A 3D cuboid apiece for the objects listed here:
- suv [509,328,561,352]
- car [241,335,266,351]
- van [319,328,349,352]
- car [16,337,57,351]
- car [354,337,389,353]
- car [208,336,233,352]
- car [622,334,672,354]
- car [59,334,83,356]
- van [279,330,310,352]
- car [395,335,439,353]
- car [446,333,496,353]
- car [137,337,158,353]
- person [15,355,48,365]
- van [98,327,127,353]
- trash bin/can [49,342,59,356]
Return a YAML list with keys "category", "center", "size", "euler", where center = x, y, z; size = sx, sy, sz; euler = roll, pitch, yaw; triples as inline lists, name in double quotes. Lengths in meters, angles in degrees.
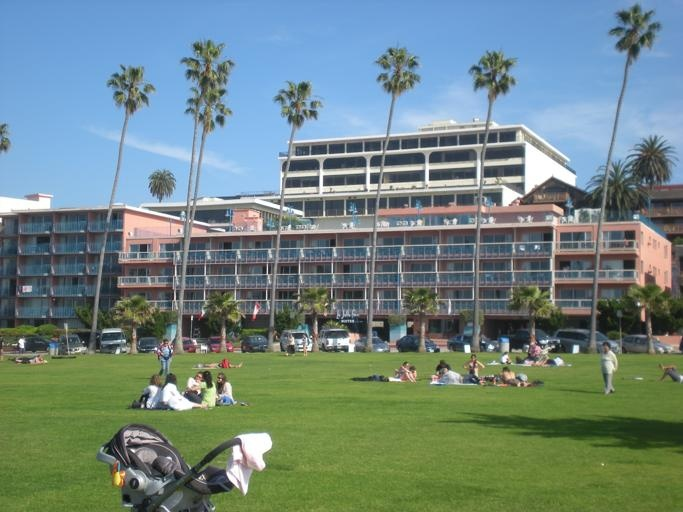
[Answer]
- category: "suv"
  center: [14.631, 6.532, 70.243]
  size: [1.515, 1.555, 3.281]
  euler: [3, -8, -35]
- category: "car"
  center: [-7.548, 7.413, 76.351]
  size: [1.127, 0.987, 1.995]
  euler: [3, -10, -24]
- category: "van"
  center: [-0.788, 6.934, 75.006]
  size: [1.361, 1.377, 2.455]
  euler: [-1, 6, -18]
- category: "car"
  center: [-27.313, 7.965, 80.170]
  size: [2.922, 1.119, 1.428]
  euler: [-2, -3, 10]
- category: "car"
  center: [2.469, 7.419, 75.601]
  size: [2.696, 1.645, 5.476]
  euler: [2, -11, 0]
- category: "car"
  center: [-11.255, 7.896, 80.545]
  size: [1.189, 1.061, 2.695]
  euler: [1, -11, -17]
- category: "car"
  center: [22.289, 6.535, 66.630]
  size: [2.679, 1.482, 1.664]
  euler: [-4, -5, 26]
- category: "car"
  center: [-22.973, 7.548, 76.266]
  size: [1.346, 1.291, 2.426]
  euler: [2, -9, -21]
- category: "van"
  center: [-3.962, 6.911, 74.008]
  size: [1.442, 1.359, 2.478]
  euler: [2, -10, -19]
- category: "car"
  center: [5.790, 7.186, 73.019]
  size: [3.043, 1.277, 1.496]
  euler: [-6, -7, 36]
- category: "car"
  center: [10.257, 6.996, 72.365]
  size: [3.115, 1.257, 1.491]
  euler: [-4, -5, 32]
- category: "car"
  center: [-16.425, 7.511, 76.419]
  size: [1.123, 0.991, 1.820]
  euler: [0, -8, -5]
- category: "person"
  center: [-20.630, 6.879, 59.629]
  size: [1.331, 0.484, 1.004]
  euler: [0, -6, 3]
- category: "van"
  center: [-19.105, 7.062, 75.280]
  size: [1.392, 1.476, 2.570]
  euler: [0, -11, -11]
- category: "trash bin/can"
  center: [-25.963, 8.325, 80.920]
  size: [0.849, 1.700, 0.842]
  euler: [2, -6, -37]
